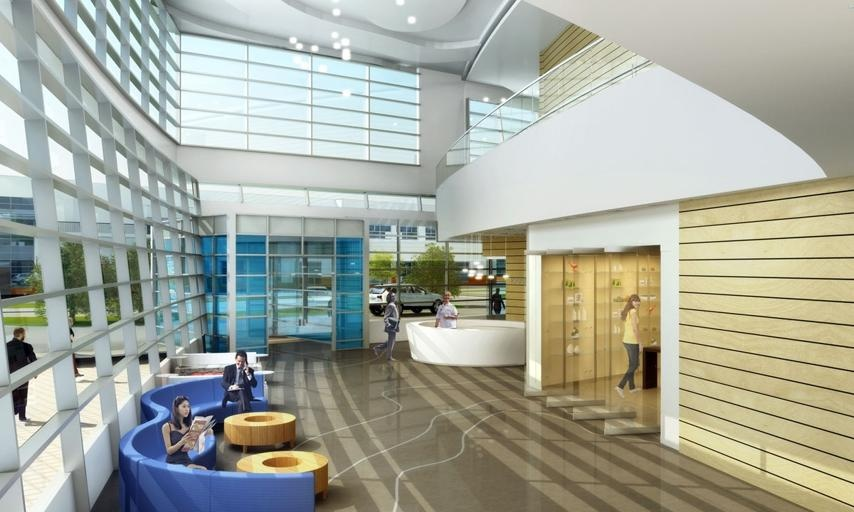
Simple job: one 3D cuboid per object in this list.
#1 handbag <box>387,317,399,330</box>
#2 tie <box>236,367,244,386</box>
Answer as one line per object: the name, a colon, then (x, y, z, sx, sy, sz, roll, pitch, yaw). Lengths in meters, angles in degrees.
handbag: (-1.226, 2.397, 18.160, 0.402, 0.424, 0.194, 8, -4, 1)
tie: (-4.116, 2.635, 11.530, 0.245, 0.293, 0.079, -2, -8, 26)
